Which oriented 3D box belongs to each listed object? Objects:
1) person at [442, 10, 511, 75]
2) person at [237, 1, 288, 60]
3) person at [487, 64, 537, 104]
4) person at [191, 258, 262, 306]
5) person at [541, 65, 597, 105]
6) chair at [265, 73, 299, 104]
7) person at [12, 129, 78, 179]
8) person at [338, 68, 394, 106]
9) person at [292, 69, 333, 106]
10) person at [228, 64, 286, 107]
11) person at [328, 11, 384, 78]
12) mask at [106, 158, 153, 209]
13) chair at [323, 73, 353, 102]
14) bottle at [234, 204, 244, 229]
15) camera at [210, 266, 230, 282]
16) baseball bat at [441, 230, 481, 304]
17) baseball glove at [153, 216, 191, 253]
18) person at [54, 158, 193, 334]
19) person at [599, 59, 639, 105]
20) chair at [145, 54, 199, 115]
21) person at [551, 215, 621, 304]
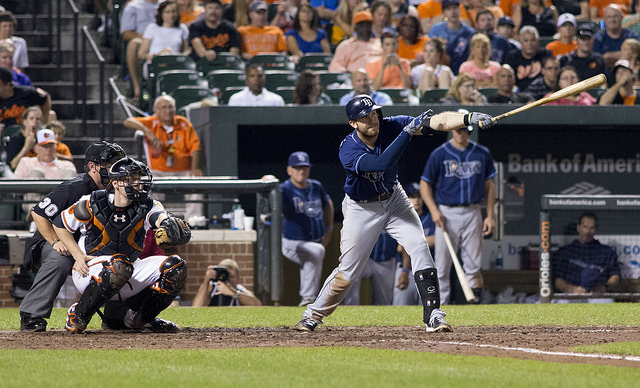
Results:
[{"bbox_3d":[2.677,-2.528,23.402,1.288,0.637,0.387,-37,13,-2],"label":"person"},{"bbox_3d":[-1.087,-2.925,24.091,1.124,1.259,0.905,-4,10,-21],"label":"person"},{"bbox_3d":[3.000,-1.658,21.857,1.002,0.686,0.485,0,-11,2],"label":"person"},{"bbox_3d":[-1.332,1.263,20.499,0.811,0.765,0.193,4,-1,8],"label":"person"},{"bbox_3d":[3.760,-1.619,20.812,0.973,0.554,0.381,-2,-16,-6],"label":"person"},{"bbox_3d":[-0.636,-1.760,22.908,0.527,0.668,0.552,0,-6,-2],"label":"chair"},{"bbox_3d":[-4.117,-0.450,20.826,1.196,0.960,0.655,2,-10,-11],"label":"person"},{"bbox_3d":[0.780,-1.668,21.736,0.990,0.641,0.507,-4,5,-11],"label":"person"},{"bbox_3d":[-0.088,-1.660,21.787,0.512,0.667,0.701,1,-2,-15],"label":"person"},{"bbox_3d":[-1.001,-1.690,21.802,0.880,0.710,0.797,0,-3,1],"label":"person"},{"bbox_3d":[0.766,-2.532,23.489,1.134,1.004,0.609,-7,8,6],"label":"person"},{"bbox_3d":[-2.376,-0.180,17.476,0.576,0.588,0.507,-3,-1,16],"label":"mask"},{"bbox_3d":[0.293,-1.797,22.889,0.505,0.586,0.491,2,31,3],"label":"chair"},{"bbox_3d":[-1.202,0.366,20.754,0.144,0.293,0.058,1,-3,-5],"label":"bottle"},{"bbox_3d":[-1.425,1.165,20.145,0.218,0.207,0.216,4,-25,-9],"label":"camera"},{"bbox_3d":[2.121,1.034,20.387,0.160,1.365,0.156,-22,-35,-5],"label":"baseball bat"},{"bbox_3d":[-1.889,0.507,17.573,0.451,0.227,0.338,17,31,40],"label":"baseball glove"},{"bbox_3d":[-2.517,0.669,17.661,1.590,2.205,0.620,1,-3,-11],"label":"person"},{"bbox_3d":[4.904,-1.806,22.409,0.628,0.798,0.663,0,-3,12],"label":"person"},{"bbox_3d":[-2.609,-1.813,23.133,0.949,1.212,0.903,0,-1,-12],"label":"chair"},{"bbox_3d":[3.954,1.024,20.183,1.013,1.465,0.734,0,-2,-6],"label":"person"}]
